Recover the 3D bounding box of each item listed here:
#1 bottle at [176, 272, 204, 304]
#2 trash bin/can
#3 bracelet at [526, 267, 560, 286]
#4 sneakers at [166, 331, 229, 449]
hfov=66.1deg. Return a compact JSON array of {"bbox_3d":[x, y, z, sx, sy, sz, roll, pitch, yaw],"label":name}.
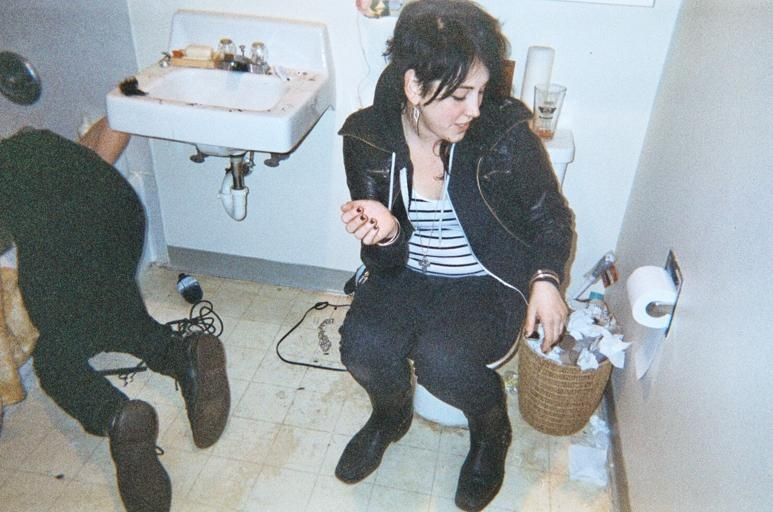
[{"bbox_3d":[-0.847,0.146,2.563,0.075,0.120,0.074,-30,-10,-6],"label":"bottle"},{"bbox_3d":[0.567,0.399,2.131,0.315,0.348,0.337,-1,39,1],"label":"trash bin/can"},{"bbox_3d":[0.491,0.066,1.788,0.102,0.054,0.046,-1,23,-11],"label":"bracelet"},{"bbox_3d":[-0.667,0.447,2.117,0.154,0.424,0.166,-4,-8,-27],"label":"sneakers"}]
